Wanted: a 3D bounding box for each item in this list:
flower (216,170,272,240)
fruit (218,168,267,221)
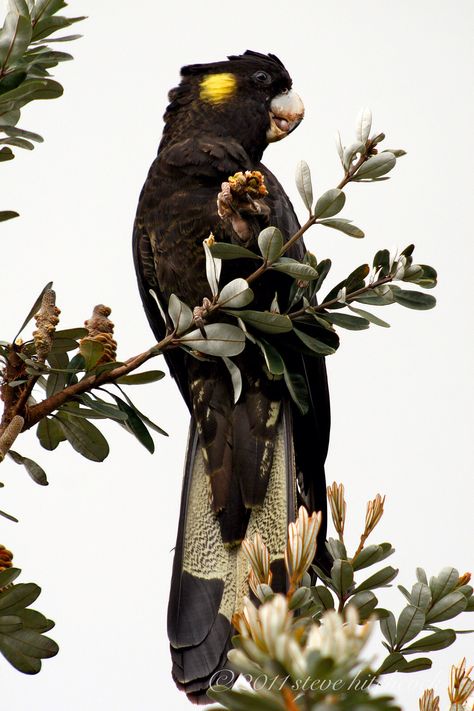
[{"bbox_3d":[0.022,-0.341,2.954,0.112,0.066,0.167,-6,-9,-27],"label":"flower"},{"bbox_3d":[0.026,-0.356,2.908,0.063,0.119,0.087,37,-91,-13],"label":"fruit"}]
